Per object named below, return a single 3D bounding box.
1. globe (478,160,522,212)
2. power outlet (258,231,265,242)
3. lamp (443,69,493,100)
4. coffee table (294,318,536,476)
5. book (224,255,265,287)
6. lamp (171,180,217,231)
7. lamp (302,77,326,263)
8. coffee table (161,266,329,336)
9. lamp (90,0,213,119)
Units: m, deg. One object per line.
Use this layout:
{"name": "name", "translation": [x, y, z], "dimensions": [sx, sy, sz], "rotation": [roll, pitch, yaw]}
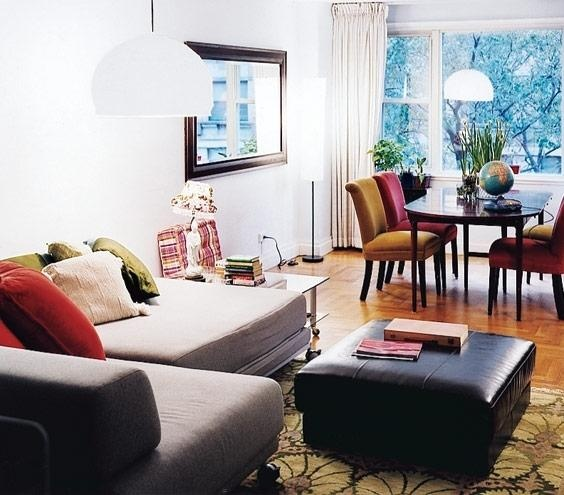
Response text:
{"name": "globe", "translation": [2.116, -0.624, 4.641], "dimensions": [0.350, 0.512, 0.357], "rotation": [-7, 4, -24]}
{"name": "power outlet", "translation": [-0.248, -0.140, 5.473], "dimensions": [0.037, 0.101, 0.114], "rotation": [2, 7, 22]}
{"name": "lamp", "translation": [2.185, -1.885, 5.505], "dimensions": [0.447, 0.176, 0.447], "rotation": [-7, 22, -10]}
{"name": "coffee table", "translation": [0.590, 0.657, 2.131], "dimensions": [0.633, 0.268, 0.681], "rotation": [3, 11, 28]}
{"name": "book", "translation": [-0.278, 0.156, 3.359], "dimensions": [0.277, 0.185, 0.199], "rotation": [4, 11, 23]}
{"name": "lamp", "translation": [-0.682, -0.349, 3.679], "dimensions": [0.370, 0.378, 0.378], "rotation": [5, 12, 14]}
{"name": "lamp", "translation": [0.390, -0.953, 6.008], "dimensions": [0.286, 2.264, 0.397], "rotation": [0, 9, 2]}
{"name": "coffee table", "translation": [0.015, 0.401, 3.601], "dimensions": [0.639, 0.320, 0.656], "rotation": [5, 13, 23]}
{"name": "lamp", "translation": [-0.520, -0.674, 1.944], "dimensions": [0.490, 0.630, 0.348], "rotation": [-1, 5, -10]}
